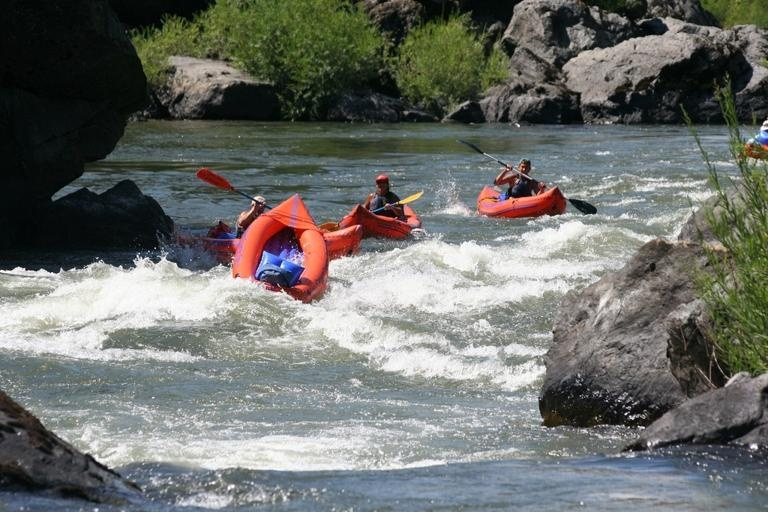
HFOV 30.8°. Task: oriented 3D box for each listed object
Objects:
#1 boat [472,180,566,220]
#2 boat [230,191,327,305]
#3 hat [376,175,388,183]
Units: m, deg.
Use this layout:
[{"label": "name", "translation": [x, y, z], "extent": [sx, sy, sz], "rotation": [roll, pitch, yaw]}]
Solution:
[{"label": "boat", "translation": [3.040, -1.287, 32.615], "extent": [1.785, 0.545, 0.917], "rotation": [-1, 5, 44]}, {"label": "boat", "translation": [-1.974, -0.061, 27.463], "extent": [1.380, 0.792, 2.701], "rotation": [16, 28, -4]}, {"label": "hat", "translation": [-0.025, -1.720, 31.340], "extent": [0.220, 0.160, 0.217], "rotation": [12, 19, 38]}]
